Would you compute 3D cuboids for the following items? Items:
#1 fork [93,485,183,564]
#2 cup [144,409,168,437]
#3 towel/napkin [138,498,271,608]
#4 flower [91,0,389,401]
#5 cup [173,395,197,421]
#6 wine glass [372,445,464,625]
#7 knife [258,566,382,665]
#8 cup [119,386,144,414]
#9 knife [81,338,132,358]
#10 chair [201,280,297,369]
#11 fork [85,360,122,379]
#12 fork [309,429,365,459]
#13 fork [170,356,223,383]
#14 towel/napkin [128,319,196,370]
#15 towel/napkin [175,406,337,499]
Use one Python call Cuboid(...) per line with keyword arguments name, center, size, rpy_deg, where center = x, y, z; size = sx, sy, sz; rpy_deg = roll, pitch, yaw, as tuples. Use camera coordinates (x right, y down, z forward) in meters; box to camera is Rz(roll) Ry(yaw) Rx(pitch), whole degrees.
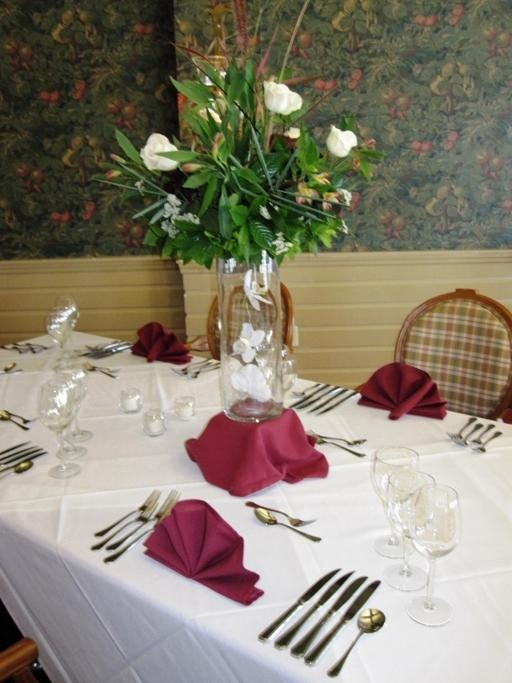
Cuboid(name="fork", center=(-0.208, 0.312, 0.948), size=(0.059, 0.024, 0.189), rpy_deg=(3, 17, 22))
Cuboid(name="cup", center=(-0.247, 0.199, 1.321), size=(0.059, 0.062, 0.057), rpy_deg=(1, 11, 0))
Cuboid(name="towel/napkin", center=(-0.077, 0.311, 0.807), size=(0.130, 0.061, 0.221), rpy_deg=(-9, 14, -36))
Cuboid(name="flower", center=(-0.002, -0.277, 1.242), size=(0.770, 0.697, 0.537), rpy_deg=(-4, 22, -11))
Cuboid(name="cup", center=(-0.186, 0.170, 1.411), size=(0.055, 0.049, 0.053), rpy_deg=(-1, 13, 0))
Cuboid(name="wine glass", center=(0.221, 0.283, 0.776), size=(0.061, 0.139, 0.161), rpy_deg=(-5, 11, -5))
Cuboid(name="knife", center=(0.085, 0.355, 0.721), size=(0.062, 0.013, 0.133), rpy_deg=(9, 15, 37))
Cuboid(name="cup", center=(-0.339, 0.160, 1.516), size=(0.065, 0.060, 0.061), rpy_deg=(1, 14, 0))
Cuboid(name="knife", center=(-0.562, 0.031, 2.064), size=(0.076, 0.020, 0.127), rpy_deg=(7, 15, 32))
Cuboid(name="chair", center=(-0.047, -0.051, 2.253), size=(0.359, 0.454, 0.350), rpy_deg=(-1, -2, 15))
Cuboid(name="fork", center=(-0.519, 0.099, 1.836), size=(0.046, 0.038, 0.275), rpy_deg=(-12, 16, -35))
Cuboid(name="fork", center=(0.179, 0.230, 1.245), size=(0.125, 0.017, 0.047), rpy_deg=(10, 30, 30))
Cuboid(name="fork", center=(-0.191, 0.098, 1.846), size=(0.058, 0.023, 0.209), rpy_deg=(11, 8, 19))
Cuboid(name="towel/napkin", center=(-0.333, 0.003, 1.959), size=(0.275, 0.117, 0.152), rpy_deg=(13, 22, 35))
Cuboid(name="towel/napkin", center=(-0.007, 0.203, 1.194), size=(0.284, 0.100, 0.309), rpy_deg=(-4, 18, -29))
